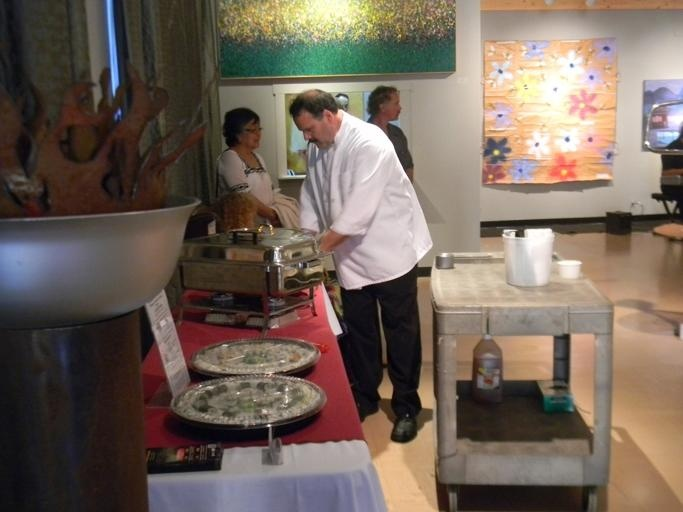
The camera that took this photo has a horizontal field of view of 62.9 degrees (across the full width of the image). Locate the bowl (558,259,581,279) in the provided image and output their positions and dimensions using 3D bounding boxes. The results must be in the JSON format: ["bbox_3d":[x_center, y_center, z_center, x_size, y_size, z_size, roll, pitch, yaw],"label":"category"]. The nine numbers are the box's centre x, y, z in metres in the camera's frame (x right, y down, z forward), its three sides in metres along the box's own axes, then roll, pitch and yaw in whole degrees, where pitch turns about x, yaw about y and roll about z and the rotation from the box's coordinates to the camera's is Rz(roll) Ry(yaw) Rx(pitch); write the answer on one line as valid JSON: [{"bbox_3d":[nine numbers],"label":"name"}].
[{"bbox_3d":[0.846,0.046,2.088,0.068,0.043,0.069,-1,2,0],"label":"bowl"}]

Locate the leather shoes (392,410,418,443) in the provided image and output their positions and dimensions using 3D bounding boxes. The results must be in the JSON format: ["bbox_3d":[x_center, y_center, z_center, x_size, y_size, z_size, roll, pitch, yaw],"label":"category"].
[{"bbox_3d":[0.313,0.813,2.713,0.116,0.083,0.255,2,15,15],"label":"leather shoes"}]

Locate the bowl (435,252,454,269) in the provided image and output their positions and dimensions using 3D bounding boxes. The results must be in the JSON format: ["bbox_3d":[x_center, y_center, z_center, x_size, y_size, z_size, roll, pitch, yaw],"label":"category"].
[{"bbox_3d":[0.423,0.023,2.312,0.052,0.052,0.073,2,1,18],"label":"bowl"}]

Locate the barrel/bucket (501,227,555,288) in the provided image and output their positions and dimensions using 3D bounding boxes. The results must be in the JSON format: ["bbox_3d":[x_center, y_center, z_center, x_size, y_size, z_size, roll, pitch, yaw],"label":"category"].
[{"bbox_3d":[0.668,-0.011,1.993,0.189,0.209,0.200,-4,10,1],"label":"barrel/bucket"}]

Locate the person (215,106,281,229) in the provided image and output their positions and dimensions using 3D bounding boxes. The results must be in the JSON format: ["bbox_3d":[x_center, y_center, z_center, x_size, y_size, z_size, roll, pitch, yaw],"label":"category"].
[{"bbox_3d":[-0.614,-0.582,3.755,0.409,0.790,0.496,-7,16,-18],"label":"person"}]

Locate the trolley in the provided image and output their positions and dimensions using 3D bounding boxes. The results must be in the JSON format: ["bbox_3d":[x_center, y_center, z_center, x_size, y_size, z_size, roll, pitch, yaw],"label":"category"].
[{"bbox_3d":[0.639,0.443,2.144,0.590,0.788,0.637,0,15,8],"label":"trolley"}]

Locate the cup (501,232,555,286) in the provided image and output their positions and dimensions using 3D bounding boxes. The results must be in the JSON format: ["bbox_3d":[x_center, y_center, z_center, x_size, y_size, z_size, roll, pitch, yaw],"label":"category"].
[{"bbox_3d":[0.636,-0.004,1.987,0.185,0.202,0.193,-3,10,1],"label":"cup"}]
